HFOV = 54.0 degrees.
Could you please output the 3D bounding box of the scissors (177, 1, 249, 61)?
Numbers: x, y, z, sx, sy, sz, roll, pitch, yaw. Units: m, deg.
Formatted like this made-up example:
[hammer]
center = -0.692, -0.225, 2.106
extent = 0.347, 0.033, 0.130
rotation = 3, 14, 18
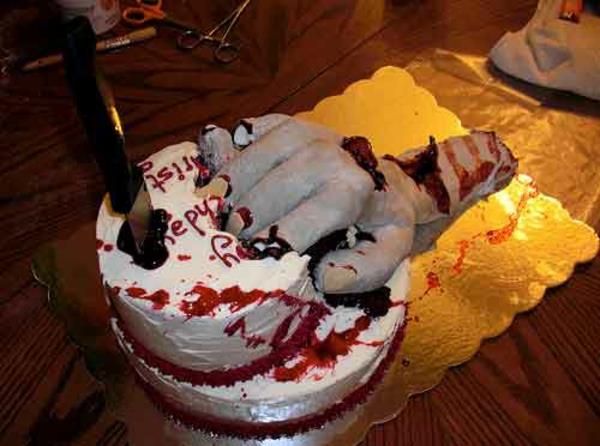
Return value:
[scissors]
center = -0.547, -1.303, 4.076
extent = 0.256, 0.044, 0.539
rotation = 24, 58, 9
